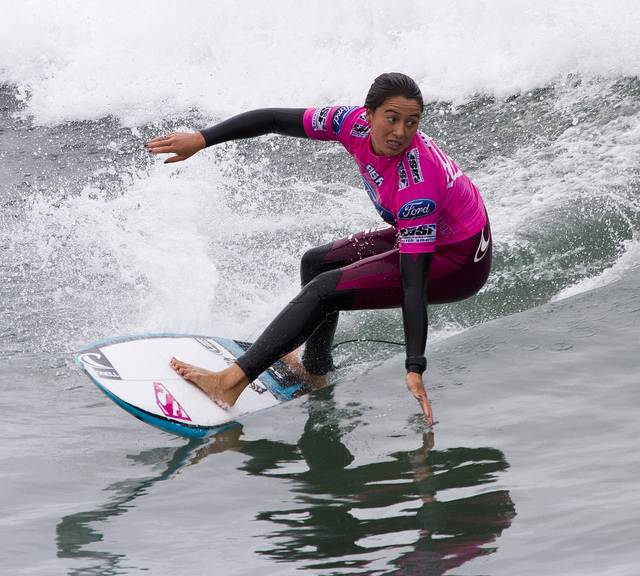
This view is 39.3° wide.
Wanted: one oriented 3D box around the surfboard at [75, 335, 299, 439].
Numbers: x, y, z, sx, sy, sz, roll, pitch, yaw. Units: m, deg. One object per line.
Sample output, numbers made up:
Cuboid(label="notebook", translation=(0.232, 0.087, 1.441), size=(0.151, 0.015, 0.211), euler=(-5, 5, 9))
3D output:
Cuboid(label="surfboard", translation=(-0.689, 0.489, 5.178), size=(0.808, 1.680, 0.213), euler=(42, 112, 23))
